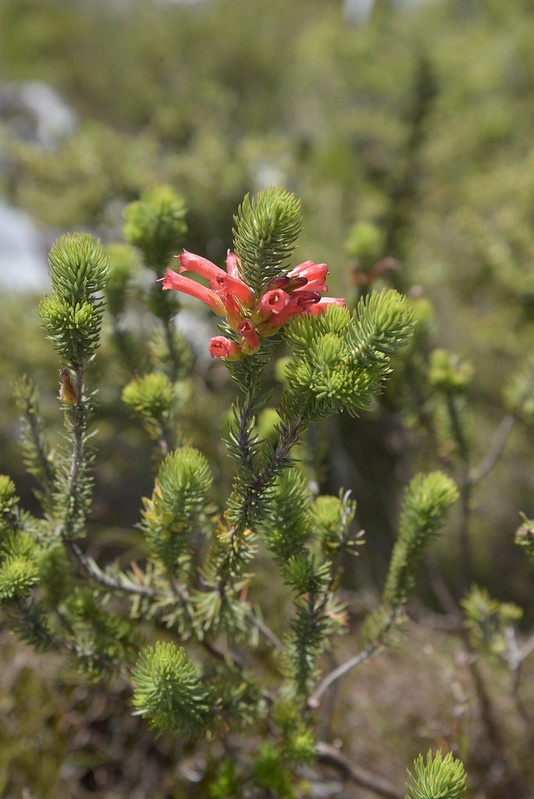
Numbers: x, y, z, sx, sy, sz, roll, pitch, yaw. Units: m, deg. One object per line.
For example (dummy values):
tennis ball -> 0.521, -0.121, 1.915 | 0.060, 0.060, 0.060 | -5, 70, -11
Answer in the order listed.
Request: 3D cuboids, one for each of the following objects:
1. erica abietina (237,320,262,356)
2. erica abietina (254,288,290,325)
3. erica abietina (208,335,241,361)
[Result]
erica abietina -> -0.037, -0.126, 1.903 | 0.046, 0.076, 0.041 | 7, 46, -2
erica abietina -> 0.009, -0.181, 1.867 | 0.061, 0.088, 0.052 | -11, 79, 6
erica abietina -> -0.086, -0.097, 1.929 | 0.059, 0.074, 0.044 | -5, 47, -13
